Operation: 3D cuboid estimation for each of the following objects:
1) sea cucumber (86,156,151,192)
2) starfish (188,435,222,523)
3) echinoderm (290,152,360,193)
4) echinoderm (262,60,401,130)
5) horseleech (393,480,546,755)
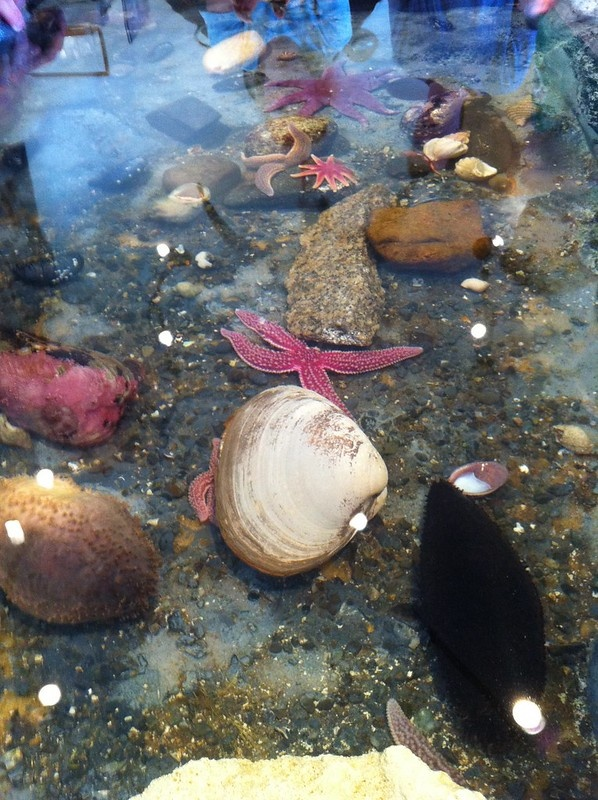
[{"bbox_3d":[-1.185,-1.486,5.039,0.354,0.063,0.226,-25,63,-18],"label":"sea cucumber"},{"bbox_3d":[-0.450,0.393,3.811,0.053,0.226,0.365,-7,59,53],"label":"starfish"},{"bbox_3d":[0.154,-1.474,4.935,0.345,0.158,0.262,-23,45,-11],"label":"echinoderm"},{"bbox_3d":[0.248,-2.173,5.427,0.653,0.084,0.568,-17,54,-9],"label":"echinoderm"},{"bbox_3d":[0.829,1.007,3.549,0.573,0.672,0.990,-5,34,-2],"label":"horseleech"}]
